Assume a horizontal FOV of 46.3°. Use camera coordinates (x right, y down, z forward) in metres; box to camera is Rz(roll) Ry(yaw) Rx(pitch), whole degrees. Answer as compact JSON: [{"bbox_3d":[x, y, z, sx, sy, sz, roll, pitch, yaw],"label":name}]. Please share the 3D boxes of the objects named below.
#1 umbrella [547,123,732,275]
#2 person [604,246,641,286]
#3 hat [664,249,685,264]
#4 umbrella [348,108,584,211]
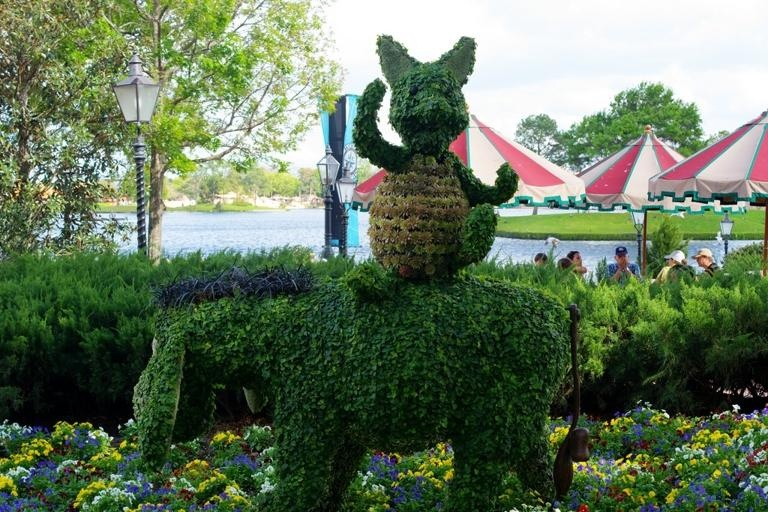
[{"bbox_3d":[5.970,-1.032,20.713,3.977,3.916,4.237,6,10,33],"label":"umbrella"},{"bbox_3d":[4.442,0.344,16.673,0.537,0.933,0.579,-1,-7,0],"label":"person"},{"bbox_3d":[5.303,0.027,16.379,0.272,0.208,0.412,2,5,-21],"label":"hat"},{"bbox_3d":[2.447,-1.591,16.653,3.309,1.454,3.295,0,0,10],"label":"umbrella"}]
